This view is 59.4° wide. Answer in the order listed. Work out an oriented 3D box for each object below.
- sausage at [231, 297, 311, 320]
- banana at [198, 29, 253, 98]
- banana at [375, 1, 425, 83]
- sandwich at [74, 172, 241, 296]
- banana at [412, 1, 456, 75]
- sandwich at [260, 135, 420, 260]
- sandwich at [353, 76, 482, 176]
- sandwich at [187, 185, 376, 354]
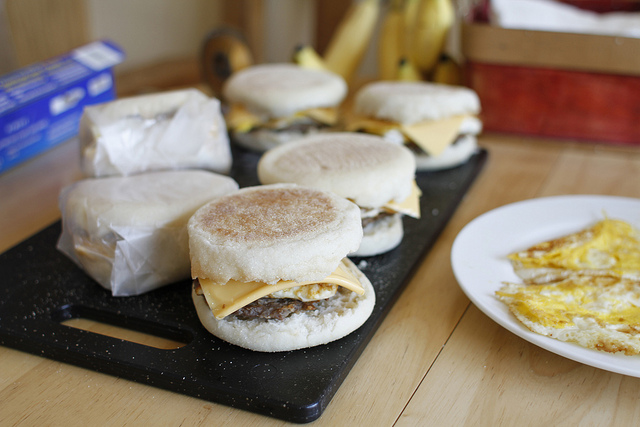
[{"bbox_3d":[-0.078,0.146,0.869,0.096,0.033,0.099,-4,8,-14],"label":"sausage"},{"bbox_3d":[-0.275,-0.443,1.649,0.039,0.154,0.152,-5,11,24],"label":"banana"},{"bbox_3d":[0.203,-0.486,1.565,0.083,0.105,0.314,-2,50,-5],"label":"banana"},{"bbox_3d":[-0.285,0.016,1.018,0.244,0.121,0.171,-19,28,-39],"label":"sandwich"},{"bbox_3d":[0.302,-0.463,1.491,0.083,0.174,0.056,0,40,6],"label":"banana"},{"bbox_3d":[0.042,-0.074,1.078,0.252,0.151,0.248,14,33,31],"label":"sandwich"},{"bbox_3d":[0.222,-0.224,1.322,0.261,0.140,0.245,14,30,33],"label":"sandwich"},{"bbox_3d":[-0.058,0.082,0.874,0.248,0.146,0.249,10,28,18],"label":"sandwich"}]
